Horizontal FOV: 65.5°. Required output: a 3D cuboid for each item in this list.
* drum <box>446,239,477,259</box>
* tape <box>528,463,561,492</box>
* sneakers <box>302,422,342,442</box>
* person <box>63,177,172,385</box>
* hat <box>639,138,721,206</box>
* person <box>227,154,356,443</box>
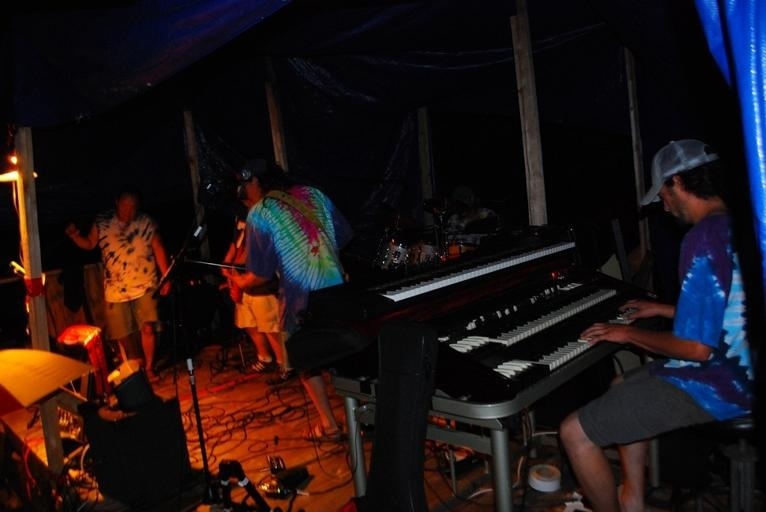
[{"bbox_3d":[0.909,-0.114,6.847,0.315,0.112,0.293,-8,3,0],"label":"drum"},{"bbox_3d":[1.385,1.873,5.088,0.193,0.072,0.202,-1,2,20],"label":"tape"},{"bbox_3d":[-0.562,1.685,5.795,0.414,0.127,0.168,-1,6,20],"label":"sneakers"},{"bbox_3d":[-3.077,0.432,7.420,1.216,2.303,0.867,-7,-5,26],"label":"person"},{"bbox_3d":[2.105,-0.641,4.311,0.486,0.280,0.349,-34,-4,33],"label":"hat"},{"bbox_3d":[-1.149,0.119,5.717,1.123,2.375,0.893,1,34,-16],"label":"person"}]
